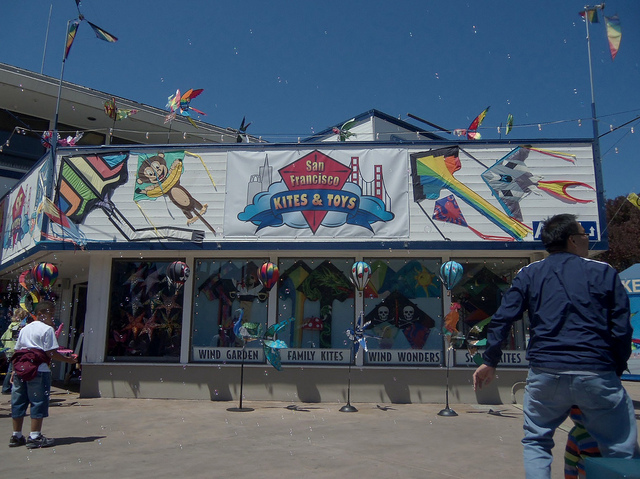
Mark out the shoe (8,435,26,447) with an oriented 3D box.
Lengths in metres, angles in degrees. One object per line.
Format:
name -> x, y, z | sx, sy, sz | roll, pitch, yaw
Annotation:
shoe -> -4.223, 2.823, 7.936 | 0.097, 0.121, 0.261 | 0, -3, 7

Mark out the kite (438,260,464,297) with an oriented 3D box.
kite -> 2.642, 0.771, 11.647 | 0.569, 0.775, 0.581 | 2, -9, -2

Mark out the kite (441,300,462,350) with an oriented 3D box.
kite -> 2.678, 1.766, 11.520 | 0.391, 0.987, 0.943 | -1, -6, 12

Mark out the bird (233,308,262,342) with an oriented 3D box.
bird -> -1.536, 1.681, 11.573 | 0.773, 0.818, 0.508 | -5, -9, 29

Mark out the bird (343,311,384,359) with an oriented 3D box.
bird -> 0.888, 1.994, 11.670 | 0.774, 0.829, 0.351 | -8, -21, -1

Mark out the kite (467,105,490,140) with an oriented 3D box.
kite -> 3.509, -2.532, 12.687 | 0.367, 0.525, 0.545 | 0, -6, 9

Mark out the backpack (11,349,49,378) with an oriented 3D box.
backpack -> -4.080, 1.720, 7.919 | 0.371, 0.383, 0.162 | -6, -23, -16

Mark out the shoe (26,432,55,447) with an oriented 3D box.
shoe -> -3.894, 2.801, 7.909 | 0.346, 0.170, 0.134 | 1, -5, -21

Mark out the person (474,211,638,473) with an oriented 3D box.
person -> 2.309, 0.950, 5.420 | 1.207, 2.420, 0.475 | -2, -6, 26

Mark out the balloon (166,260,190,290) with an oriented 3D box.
balloon -> -2.960, 0.771, 11.926 | 0.508, 0.648, 0.526 | 5, -17, -5

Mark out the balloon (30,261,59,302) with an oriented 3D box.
balloon -> -5.795, 0.853, 11.887 | 0.458, 0.809, 1.286 | 3, -6, -27
